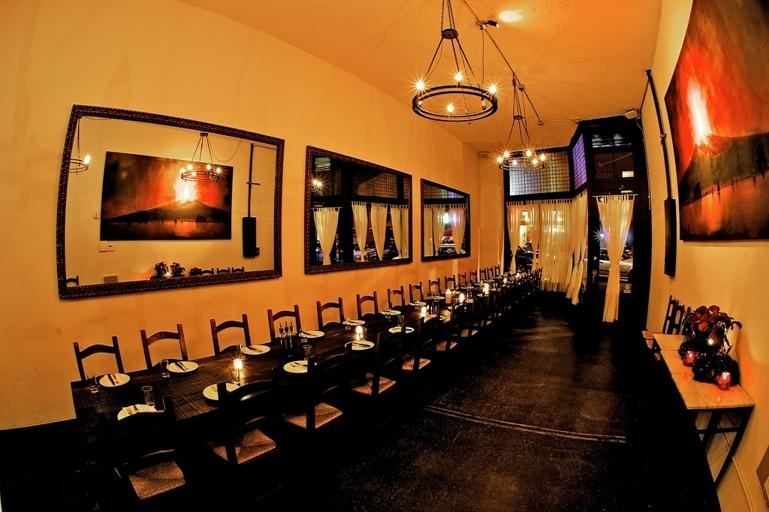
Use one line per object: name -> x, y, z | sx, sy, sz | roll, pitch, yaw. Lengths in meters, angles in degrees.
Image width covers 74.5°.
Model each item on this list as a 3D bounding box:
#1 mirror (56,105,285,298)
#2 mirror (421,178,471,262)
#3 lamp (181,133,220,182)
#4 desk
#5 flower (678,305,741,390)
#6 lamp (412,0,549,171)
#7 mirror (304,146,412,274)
mirror -> -2.898, -0.716, 6.608 | 2.626, 2.192, 0.130 | 0, 2, -36
mirror -> 1.436, -0.705, 11.797 | 0.093, 1.672, 2.707 | 0, 3, 33
lamp -> -2.483, -1.319, 6.986 | 0.542, 0.669, 0.571 | 0, -1, 9
desk -> 3.346, 1.746, 5.271 | 0.614, 1.512, 1.557 | -3, 6, 5
flower -> 3.521, 0.990, 5.640 | 0.644, 0.879, 0.805 | 4, -4, -16
lamp -> 1.702, -2.498, 9.254 | 1.235, 1.852, 4.889 | -5, -12, 26
mirror -> -0.304, -0.672, 9.012 | 2.644, 1.912, 0.060 | -2, 3, -44
